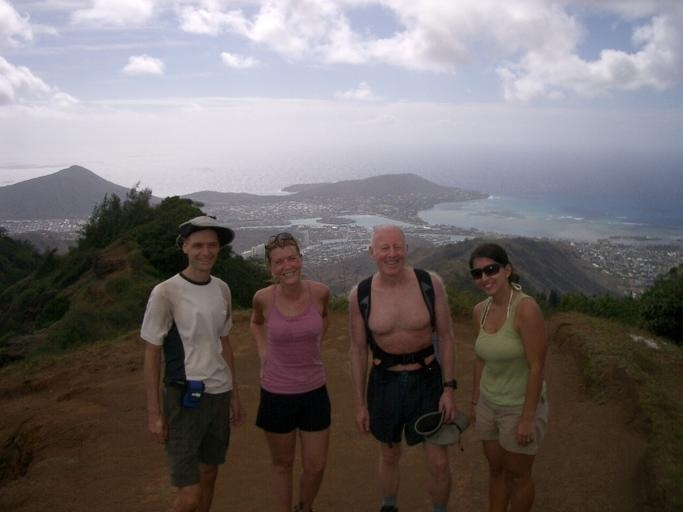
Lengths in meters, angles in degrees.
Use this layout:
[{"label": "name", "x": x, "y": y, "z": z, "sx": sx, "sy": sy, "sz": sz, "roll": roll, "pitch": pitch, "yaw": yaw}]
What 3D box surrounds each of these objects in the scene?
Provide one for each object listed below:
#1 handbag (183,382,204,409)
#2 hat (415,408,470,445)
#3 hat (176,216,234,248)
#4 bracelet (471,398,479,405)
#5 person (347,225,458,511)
[{"label": "handbag", "x": -1.448, "y": 1.349, "z": 4.696, "sx": 0.199, "sy": 0.263, "sz": 0.155, "roll": 12, "pitch": -12, "yaw": -18}, {"label": "hat", "x": 1.043, "y": 1.752, "z": 4.969, "sx": 0.357, "sy": 0.219, "sz": 0.470, "roll": 19, "pitch": 27, "yaw": 34}, {"label": "hat", "x": -1.407, "y": -0.208, "z": 4.938, "sx": 0.451, "sy": 0.150, "sz": 0.356, "roll": -5, "pitch": -1, "yaw": 44}, {"label": "bracelet", "x": 1.404, "y": 1.566, "z": 5.153, "sx": 0.063, "sy": 0.032, "sz": 0.086, "roll": -3, "pitch": -1, "yaw": -4}, {"label": "person", "x": 0.646, "y": 1.514, "z": 5.249, "sx": 1.141, "sy": 3.661, "sz": 0.942, "roll": 1, "pitch": 14, "yaw": 12}]
